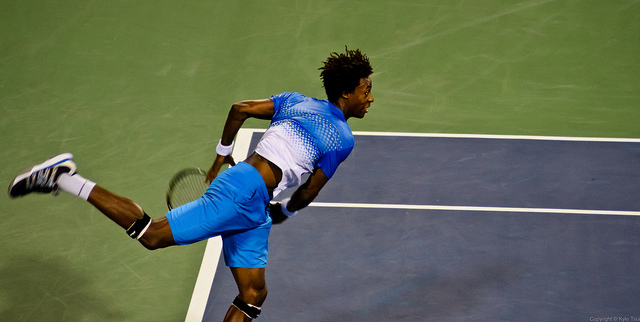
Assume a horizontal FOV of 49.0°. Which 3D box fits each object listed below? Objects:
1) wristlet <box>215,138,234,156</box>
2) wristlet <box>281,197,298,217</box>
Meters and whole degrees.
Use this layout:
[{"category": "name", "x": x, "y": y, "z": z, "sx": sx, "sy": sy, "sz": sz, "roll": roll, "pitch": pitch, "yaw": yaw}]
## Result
[{"category": "wristlet", "x": -1.882, "y": -0.264, "z": 13.654, "sx": 0.301, "sy": 0.249, "sz": 0.314, "roll": 20, "pitch": -18, "yaw": -32}, {"category": "wristlet", "x": -0.605, "y": 0.873, "z": 13.190, "sx": 0.249, "sy": 0.368, "sz": 0.170, "roll": -10, "pitch": 15, "yaw": -7}]
